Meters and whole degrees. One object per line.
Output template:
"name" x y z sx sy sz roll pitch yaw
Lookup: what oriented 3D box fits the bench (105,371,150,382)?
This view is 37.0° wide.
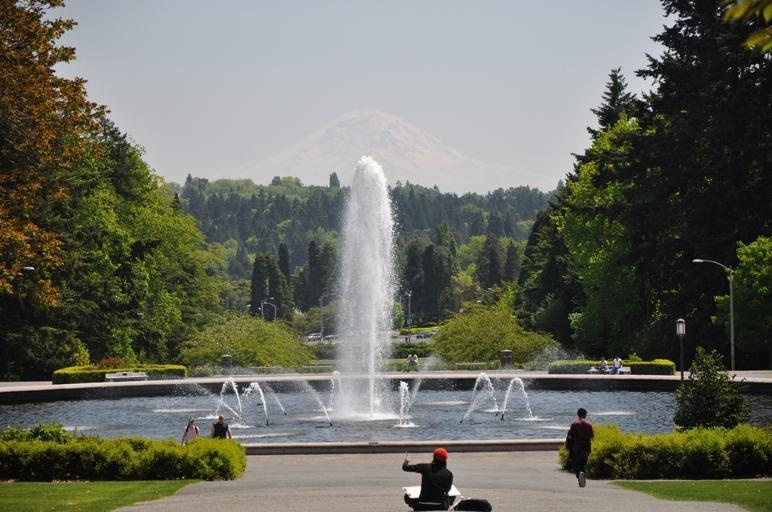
"bench" -17.686 8.164 79.429 1.990 0.754 3.459 -6 -10 35

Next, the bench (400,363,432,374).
"bench" 2.341 8.857 91.998 1.288 0.604 2.002 2 -1 4

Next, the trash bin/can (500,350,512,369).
"trash bin/can" 9.405 7.973 90.665 0.907 1.698 3.512 -1 -8 6

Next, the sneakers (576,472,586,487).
"sneakers" 8.349 9.490 49.381 0.238 0.700 0.282 1 -3 -10

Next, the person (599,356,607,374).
"person" 15.489 7.710 82.436 0.637 1.230 2.634 -2 -8 11
